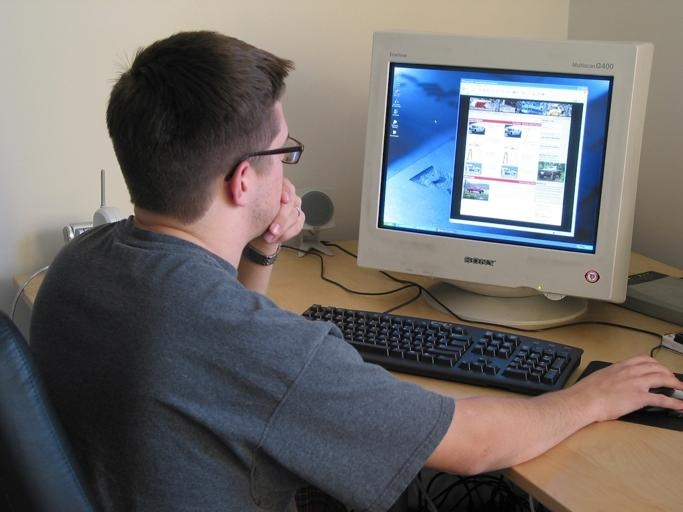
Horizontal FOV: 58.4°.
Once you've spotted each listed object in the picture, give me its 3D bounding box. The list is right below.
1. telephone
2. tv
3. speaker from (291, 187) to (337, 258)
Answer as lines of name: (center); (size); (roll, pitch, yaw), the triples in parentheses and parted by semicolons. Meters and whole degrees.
telephone: (-0.629, -0.106, 1.594); (0.205, 0.213, 0.065); (-3, -2, 32)
tv: (0.369, -0.218, 1.518); (0.604, 0.657, 0.359); (7, 32, 16)
speaker: (-0.090, -0.116, 1.870); (0.136, 0.193, 0.147); (-12, 27, -32)
